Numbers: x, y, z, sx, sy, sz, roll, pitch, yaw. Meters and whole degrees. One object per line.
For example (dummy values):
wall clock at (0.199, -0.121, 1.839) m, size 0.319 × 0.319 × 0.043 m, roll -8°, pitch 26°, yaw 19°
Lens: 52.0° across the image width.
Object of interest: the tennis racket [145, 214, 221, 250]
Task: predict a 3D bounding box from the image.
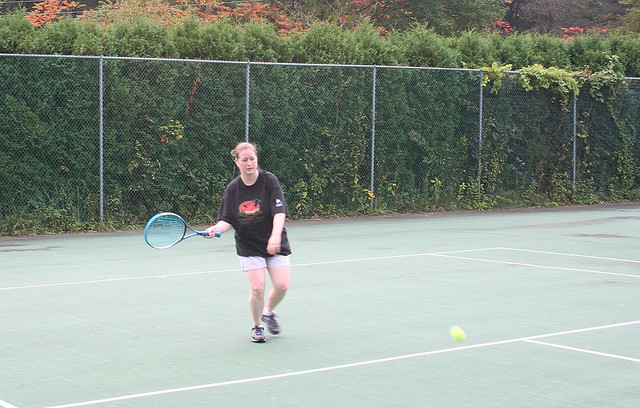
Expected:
tennis racket at (-1.737, 0.374, 8.564) m, size 1.335 × 0.476 × 0.099 m, roll 1°, pitch -12°, yaw 27°

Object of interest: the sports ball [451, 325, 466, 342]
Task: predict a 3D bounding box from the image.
sports ball at (1.724, 1.621, 8.058) m, size 0.154 × 0.141 × 0.166 m, roll -8°, pitch 31°, yaw 5°

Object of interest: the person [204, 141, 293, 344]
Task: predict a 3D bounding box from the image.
person at (-0.806, 0.465, 8.023) m, size 0.874 × 2.405 × 0.516 m, roll -2°, pitch 4°, yaw -3°
